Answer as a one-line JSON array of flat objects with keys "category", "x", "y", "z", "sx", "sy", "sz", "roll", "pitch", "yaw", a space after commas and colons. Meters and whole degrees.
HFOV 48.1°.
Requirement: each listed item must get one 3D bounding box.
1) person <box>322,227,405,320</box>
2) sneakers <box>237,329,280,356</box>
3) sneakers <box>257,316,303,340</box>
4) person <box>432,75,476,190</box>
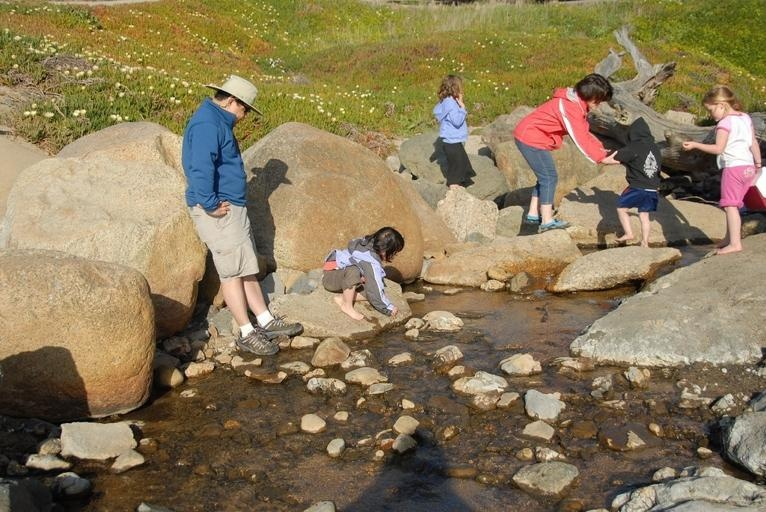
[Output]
[{"category": "person", "x": -0.180, "y": 0.110, "z": 11.751, "sx": 1.261, "sy": 1.048, "sz": 1.367, "roll": 4, "pitch": 23, "yaw": 12}, {"category": "sneakers", "x": -1.587, "y": 1.122, "z": 10.875, "sx": 0.613, "sy": 0.241, "sz": 0.238, "roll": 7, "pitch": 32, "yaw": 2}, {"category": "sneakers", "x": -1.343, "y": 0.921, "z": 11.113, "sx": 0.628, "sy": 0.245, "sz": 0.235, "roll": -5, "pitch": 16, "yaw": -7}, {"category": "person", "x": 1.276, "y": -2.157, "z": 15.237, "sx": 0.513, "sy": 1.853, "sz": 1.047, "roll": -10, "pitch": 40, "yaw": -26}]
